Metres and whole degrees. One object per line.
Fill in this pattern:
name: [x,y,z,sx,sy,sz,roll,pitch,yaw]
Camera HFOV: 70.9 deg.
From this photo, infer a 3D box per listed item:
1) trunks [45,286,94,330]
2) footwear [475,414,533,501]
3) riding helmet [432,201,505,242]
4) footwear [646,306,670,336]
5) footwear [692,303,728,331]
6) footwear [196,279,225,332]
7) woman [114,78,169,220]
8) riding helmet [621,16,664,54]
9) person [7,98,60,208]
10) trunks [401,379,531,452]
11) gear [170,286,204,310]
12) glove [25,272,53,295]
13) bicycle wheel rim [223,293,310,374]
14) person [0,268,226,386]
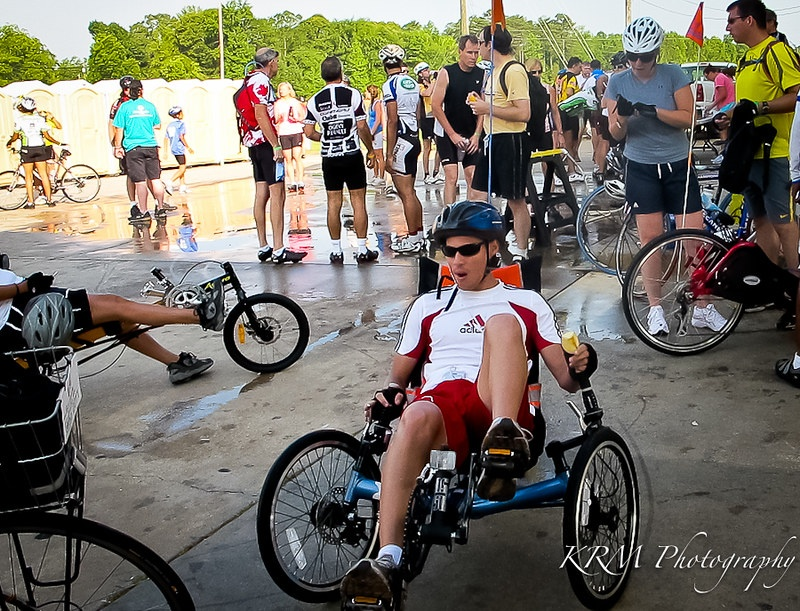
trunks: [-2.068,0.021,3.499,0.235,0.278,0.301,7,-6,-29]
footwear: [0.362,0.526,1.934,0.125,0.146,0.347,2,10,10]
riding helmet: [0.329,-0.406,2.524,0.202,0.142,0.251,8,16,29]
footwear: [2.124,0.130,4.734,0.144,0.179,0.399,-3,-3,12]
footwear: [2.590,0.091,4.732,0.354,0.160,0.136,8,44,48]
footwear: [-1.360,0.005,4.015,0.210,0.339,0.145,-1,5,-12]
woman: [-5.389,-3.204,11.610,0.893,2.819,1.395,-10,15,-25]
riding helmet: [1.992,-2.213,4.597,0.298,0.292,0.168,2,15,22]
person: [-9.113,-3.832,14.060,0.905,2.697,0.675,-11,16,-28]
trunks: [0.246,0.431,2.273,0.258,0.183,0.439,3,31,25]
gear: [-1.541,-0.058,4.027,0.177,0.179,0.054,0,-11,7]
glove: [-1.978,-0.121,3.085,0.123,0.131,0.299,-12,16,-32]
bicycle wheel rim: [-1.091,0.252,4.585,0.650,0.652,0.112,-2,8,-7]
person: [-1.501,0.203,3.722,1.735,0.825,0.755,2,4,-27]
